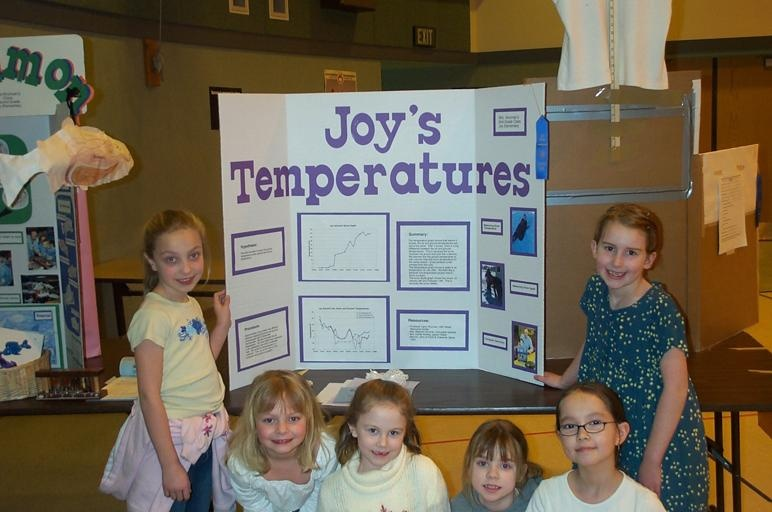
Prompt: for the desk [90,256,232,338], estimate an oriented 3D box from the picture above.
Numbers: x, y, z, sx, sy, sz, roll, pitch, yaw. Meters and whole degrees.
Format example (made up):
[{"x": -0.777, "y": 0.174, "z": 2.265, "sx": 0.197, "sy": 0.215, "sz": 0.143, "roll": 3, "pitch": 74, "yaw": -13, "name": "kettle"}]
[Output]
[{"x": -2.211, "y": 0.397, "z": 6.297, "sx": 1.041, "sy": 0.761, "sz": 0.836, "roll": 1, "pitch": -1, "yaw": -16, "name": "desk"}]
